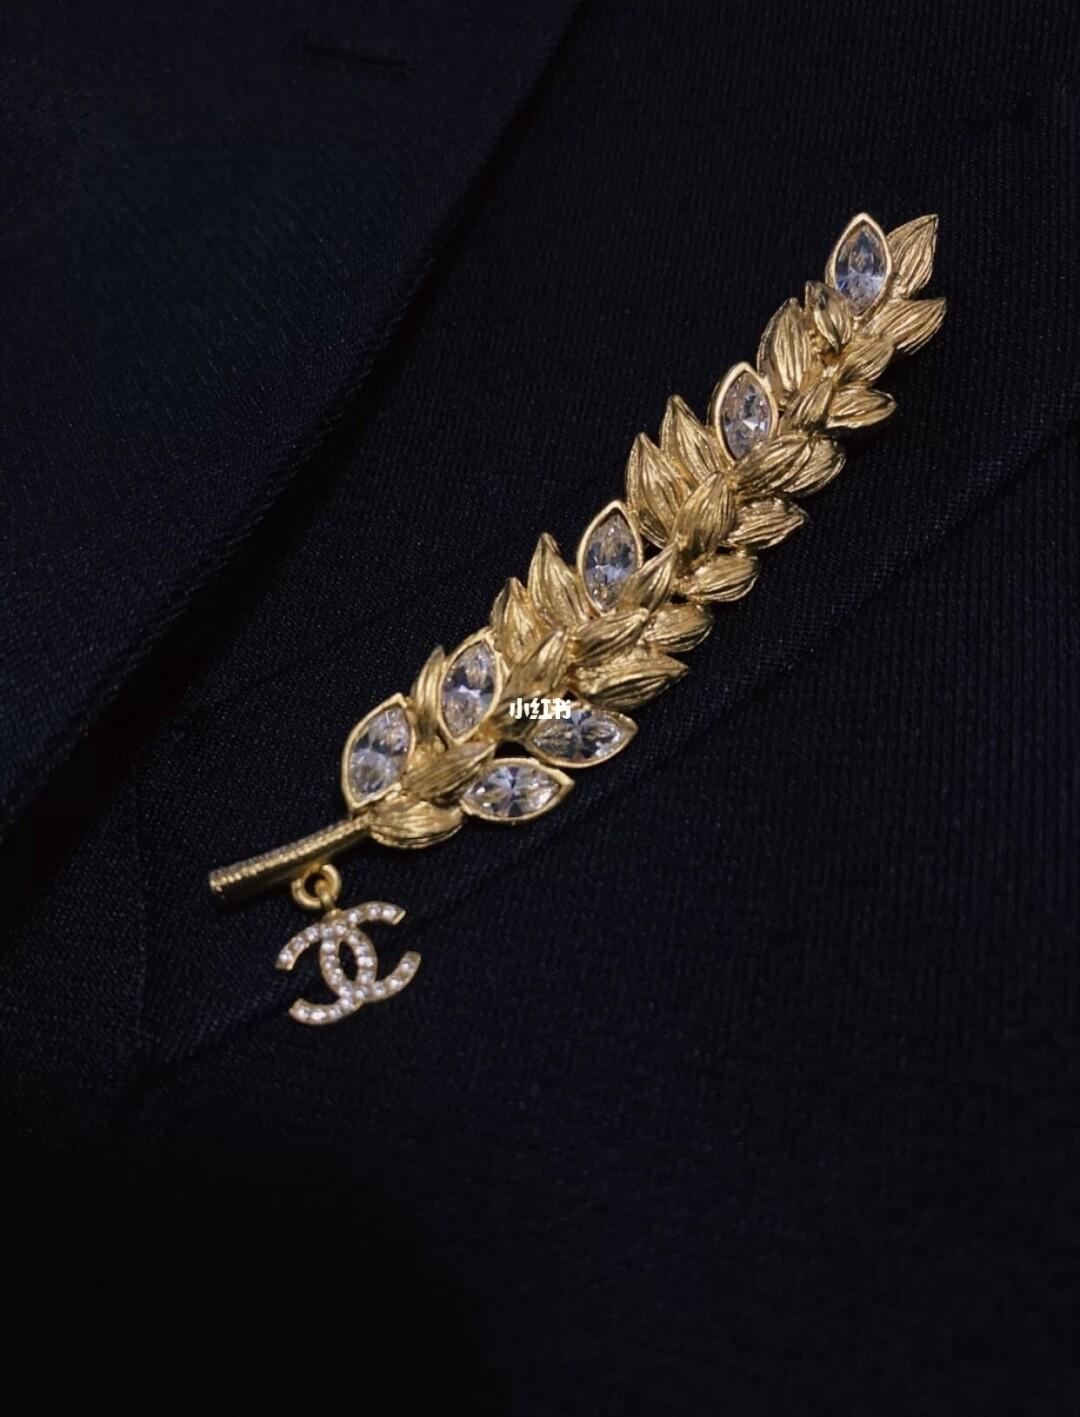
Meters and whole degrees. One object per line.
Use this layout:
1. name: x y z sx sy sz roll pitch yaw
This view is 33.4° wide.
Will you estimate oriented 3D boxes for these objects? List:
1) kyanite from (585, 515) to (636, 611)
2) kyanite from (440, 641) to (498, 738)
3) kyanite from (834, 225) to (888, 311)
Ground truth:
1. kyanite: 0.038 -0.070 0.886 0.026 0.009 0.046 7 86 -5
2. kyanite: -0.034 -0.008 0.870 0.032 0.012 0.044 25 83 -5
3. kyanite: 0.161 -0.219 0.900 0.038 0.011 0.035 0 93 0
